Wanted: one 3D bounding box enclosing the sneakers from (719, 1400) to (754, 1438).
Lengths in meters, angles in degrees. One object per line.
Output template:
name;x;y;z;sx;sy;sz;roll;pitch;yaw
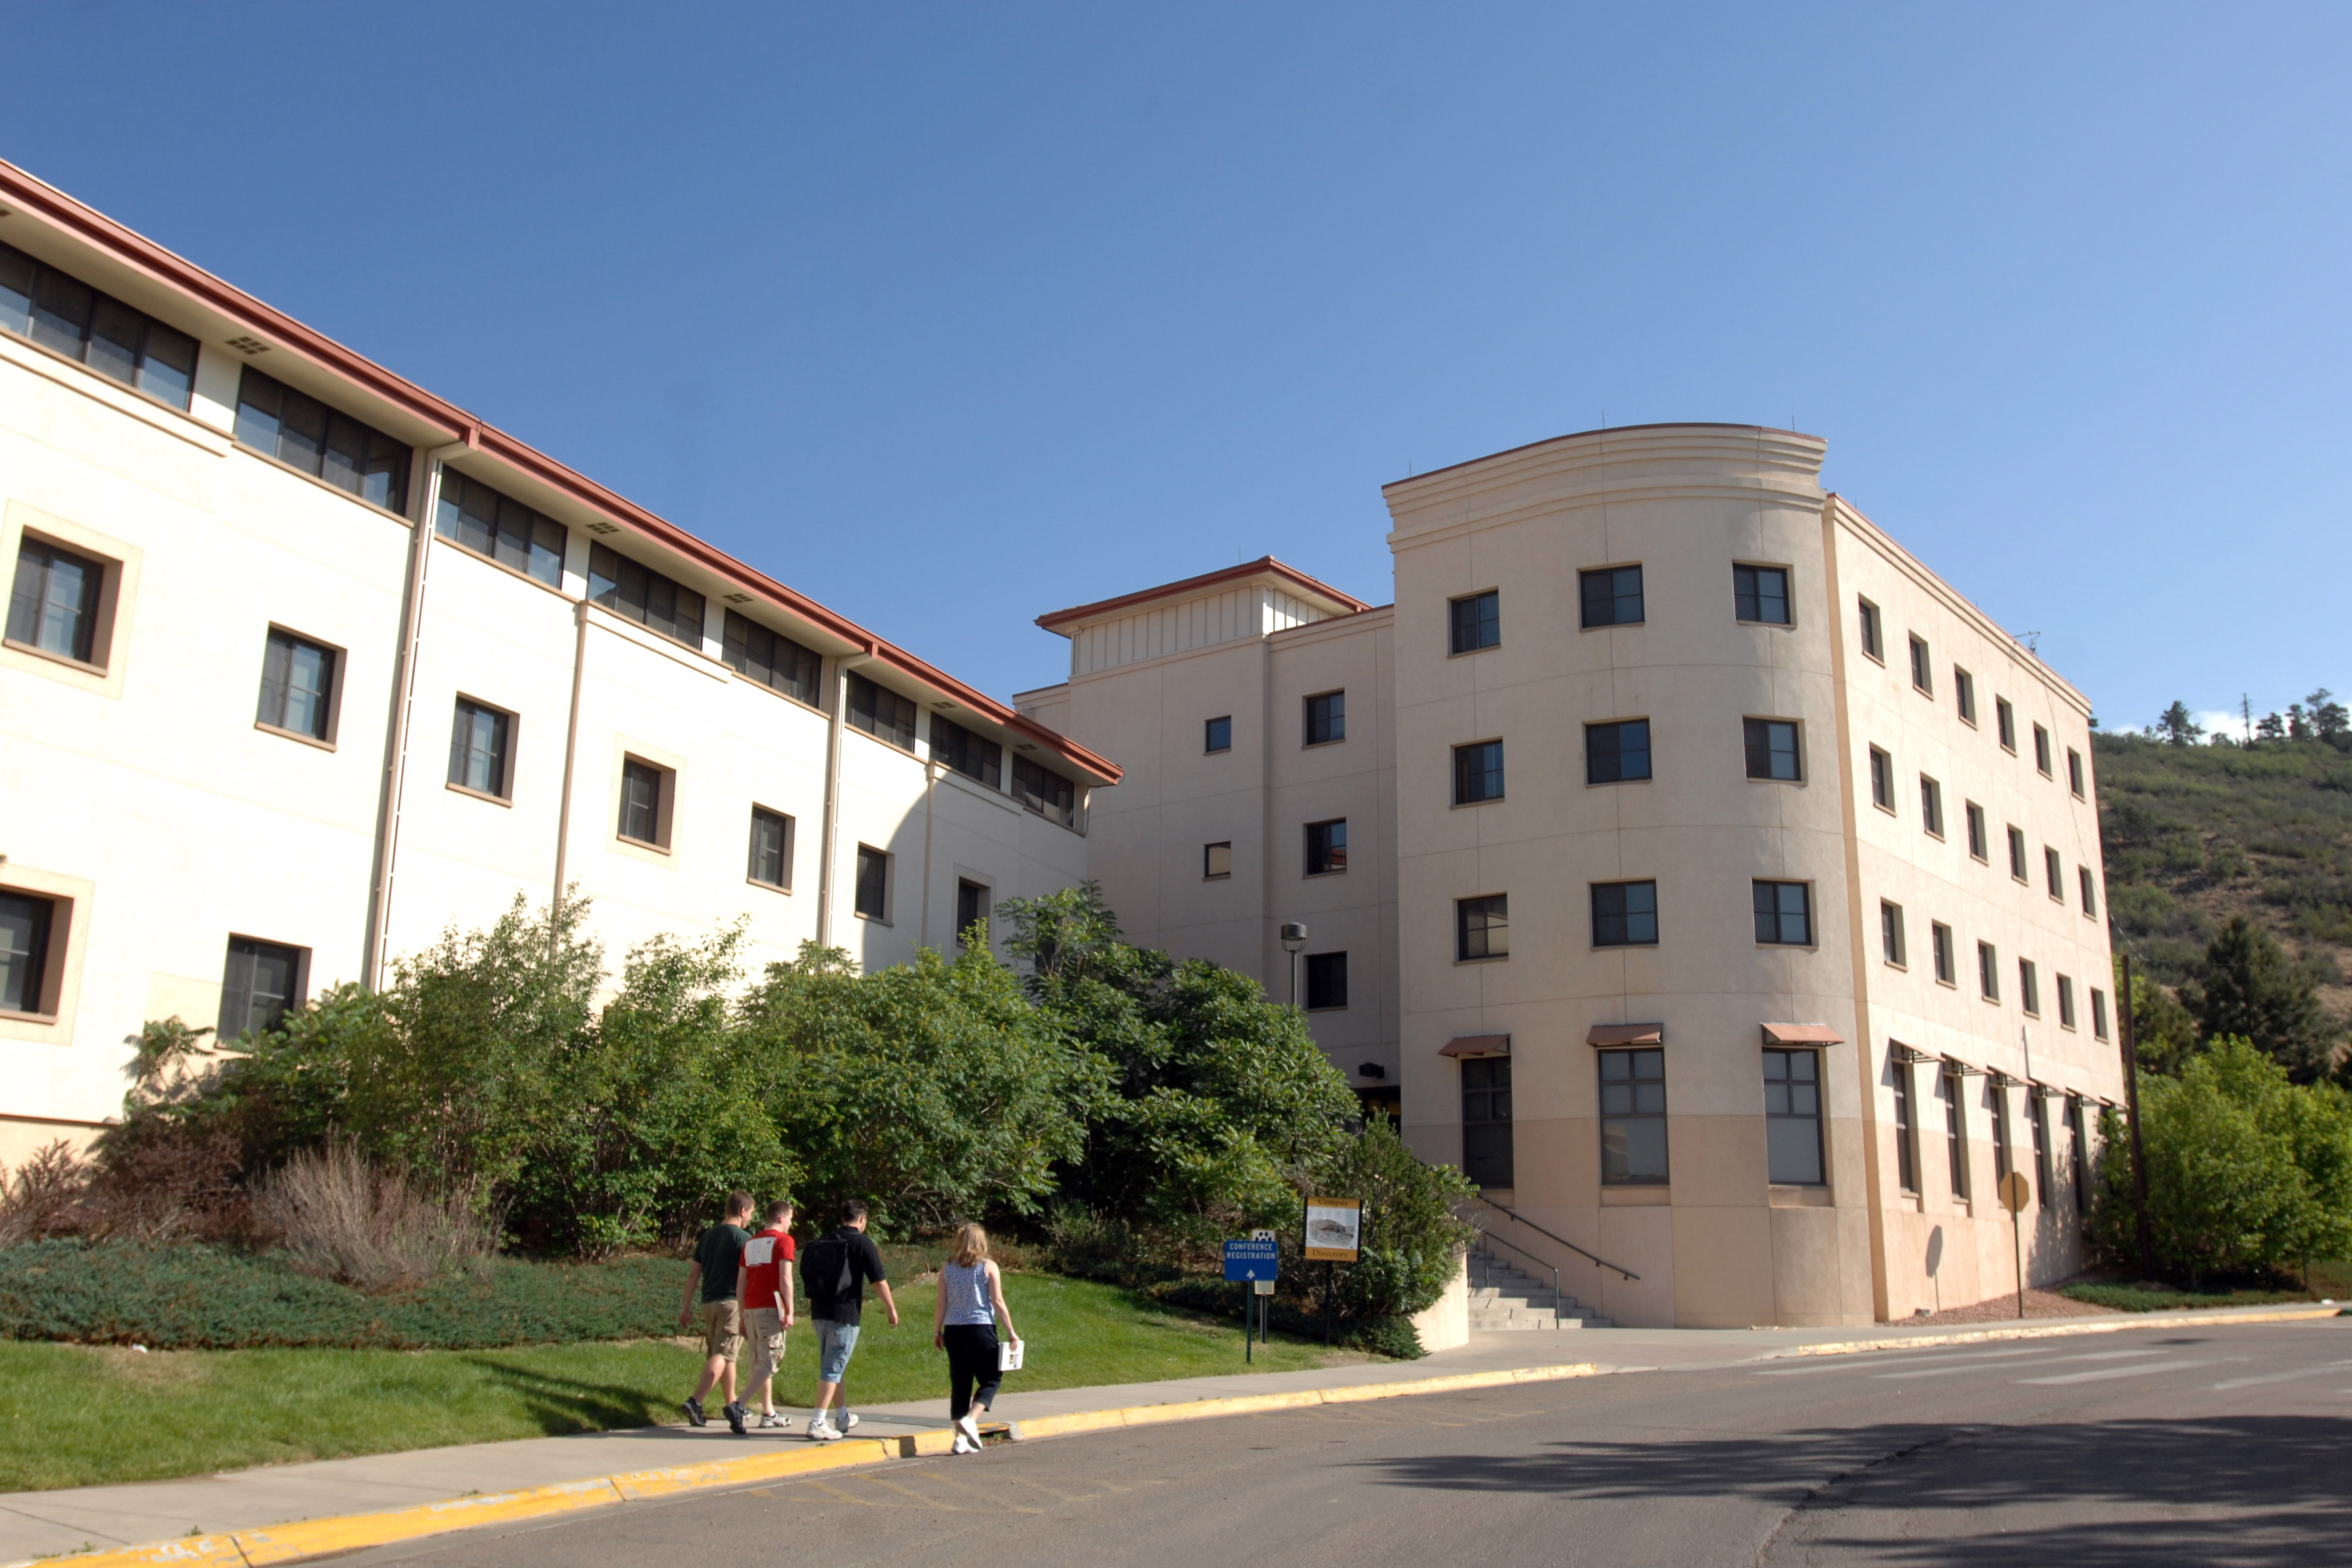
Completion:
sneakers;-5.128;7.335;21.285;0.200;0.486;0.208;-17;4;-37

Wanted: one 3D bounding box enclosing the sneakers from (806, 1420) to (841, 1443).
sneakers;-4.021;7.433;21.042;0.467;0.206;0.161;2;-5;-5

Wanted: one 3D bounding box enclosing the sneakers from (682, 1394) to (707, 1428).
sneakers;-5.690;7.467;21.538;0.196;0.475;0.173;-14;-22;-3

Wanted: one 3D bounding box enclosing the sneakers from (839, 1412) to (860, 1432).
sneakers;-3.885;7.489;21.522;0.107;0.137;0.315;-11;3;10

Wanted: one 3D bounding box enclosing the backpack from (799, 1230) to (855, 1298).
backpack;-4.103;5.639;21.309;0.593;0.777;0.296;-9;-20;27
